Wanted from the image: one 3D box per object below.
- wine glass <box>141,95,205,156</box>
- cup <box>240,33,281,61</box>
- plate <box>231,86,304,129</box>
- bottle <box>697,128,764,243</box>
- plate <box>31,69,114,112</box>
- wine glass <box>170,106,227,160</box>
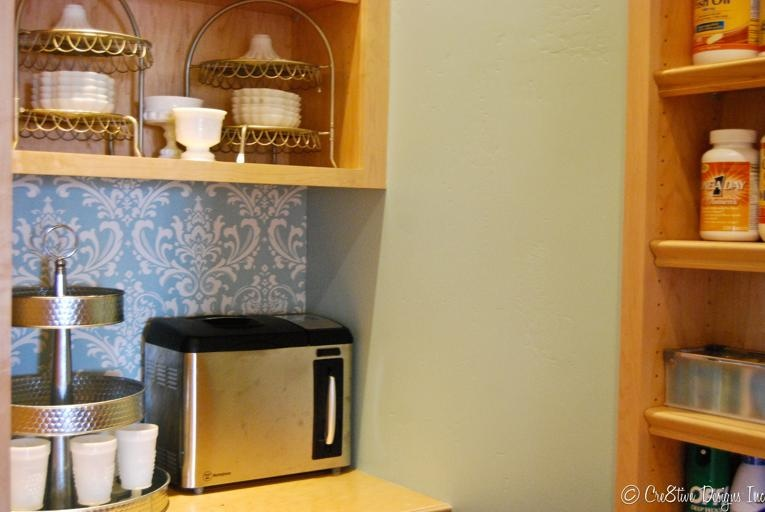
[{"bbox_3d":[-0.548,-0.342,1.987,0.160,0.166,0.162,-3,5,-34],"label":"wine glass"},{"bbox_3d":[-0.336,-0.550,1.997,0.094,0.048,0.096,2,5,0],"label":"cup"},{"bbox_3d":[-0.311,-0.385,1.960,0.128,0.052,0.125,1,0,7],"label":"plate"},{"bbox_3d":[0.672,-0.137,1.431,0.104,0.219,0.060,-1,1,27],"label":"bottle"},{"bbox_3d":[-0.737,-0.392,1.752,0.123,0.057,0.133,0,4,-3],"label":"plate"},{"bbox_3d":[-0.452,-0.306,1.871,0.133,0.134,0.135,4,4,32],"label":"wine glass"}]
